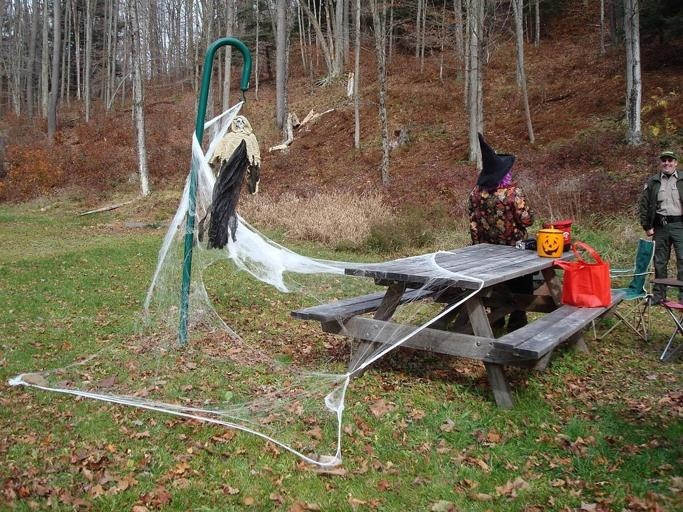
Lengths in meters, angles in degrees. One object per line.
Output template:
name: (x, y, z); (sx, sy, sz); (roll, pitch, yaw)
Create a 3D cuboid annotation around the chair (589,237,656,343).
chair: (4.095, 0.469, 8.683); (1.018, 1.415, 1.074); (2, 8, 43)

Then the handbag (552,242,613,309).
handbag: (3.101, 0.222, 7.659); (0.755, 0.807, 0.664); (-4, 8, 33)

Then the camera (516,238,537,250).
camera: (2.511, -0.162, 7.990); (0.132, 0.081, 0.264); (6, 7, 45)

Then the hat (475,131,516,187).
hat: (2.099, -1.267, 8.060); (0.470, 0.685, 0.399); (0, 12, 15)

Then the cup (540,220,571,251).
cup: (2.758, -0.247, 7.577); (0.461, 0.426, 0.470); (-2, 5, 0)

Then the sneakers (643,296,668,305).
sneakers: (4.663, 0.659, 8.753); (0.421, 0.179, 0.137); (11, -12, -38)
